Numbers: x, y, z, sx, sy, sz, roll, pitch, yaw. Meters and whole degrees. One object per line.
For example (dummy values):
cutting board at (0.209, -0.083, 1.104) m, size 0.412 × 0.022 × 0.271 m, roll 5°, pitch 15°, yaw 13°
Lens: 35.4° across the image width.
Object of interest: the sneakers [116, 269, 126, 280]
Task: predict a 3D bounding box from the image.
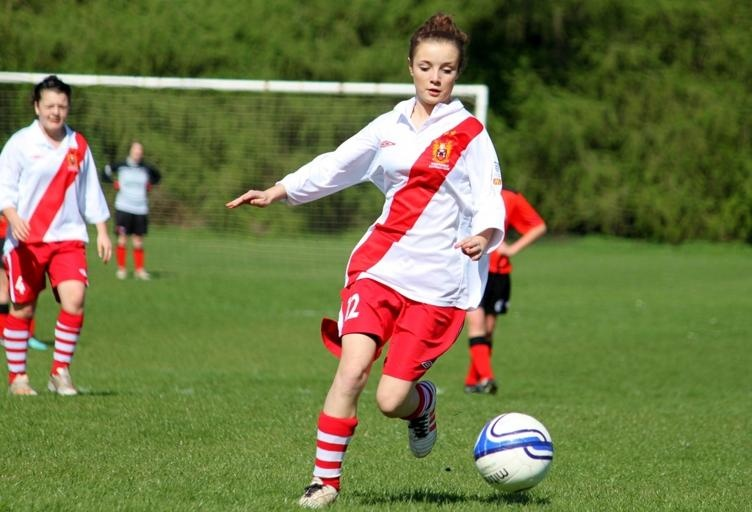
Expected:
sneakers at (-4.630, 0.316, 21.340) m, size 0.173 × 0.174 × 0.178 m, roll 1°, pitch -5°, yaw -5°

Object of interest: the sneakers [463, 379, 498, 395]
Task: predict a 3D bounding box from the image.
sneakers at (1.378, 1.665, 15.338) m, size 0.491 × 0.238 × 0.169 m, roll 4°, pitch 2°, yaw 31°

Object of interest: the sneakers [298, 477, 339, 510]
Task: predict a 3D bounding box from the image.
sneakers at (-0.576, 2.347, 11.743) m, size 0.203 × 0.171 × 0.388 m, roll 0°, pitch 4°, yaw 21°

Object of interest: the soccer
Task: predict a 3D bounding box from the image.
soccer at (1.474, 1.976, 12.195) m, size 0.721 × 0.785 × 0.768 m, roll -8°, pitch -21°, yaw 26°
